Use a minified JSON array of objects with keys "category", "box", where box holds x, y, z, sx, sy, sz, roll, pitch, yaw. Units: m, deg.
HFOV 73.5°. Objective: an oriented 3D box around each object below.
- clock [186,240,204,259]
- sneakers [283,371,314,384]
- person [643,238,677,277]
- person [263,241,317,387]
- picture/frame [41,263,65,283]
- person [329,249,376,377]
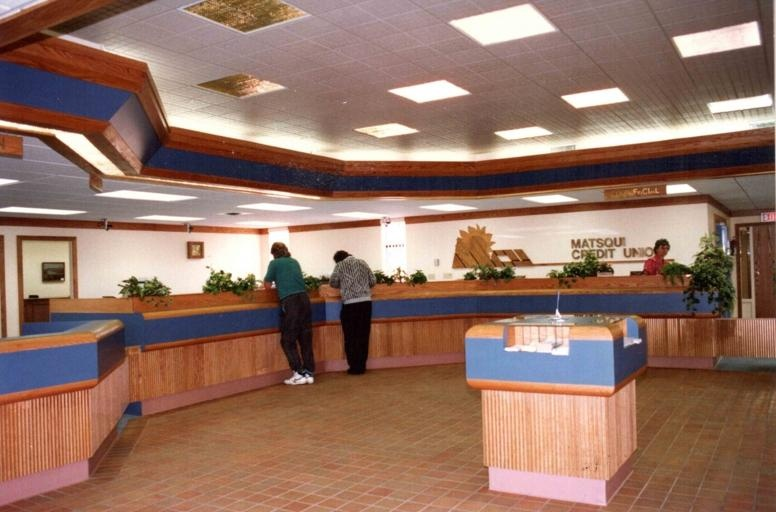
[{"category":"clock","box":[-6.188,-0.191,16.706,0.199,0.576,0.581,-1,3,38]},{"category":"sneakers","box":[-1.420,1.987,8.486,0.579,0.185,0.178,2,-1,2]},{"category":"person","box":[4.836,0.011,9.314,0.400,0.599,1.148,-2,2,26]},{"category":"person","box":[-1.608,0.934,8.381,0.596,2.284,0.392,-3,3,18]},{"category":"picture/frame","box":[-9.541,0.483,14.669,0.720,0.583,0.078,1,-1,-31]},{"category":"person","box":[-0.569,0.979,9.048,0.758,2.143,0.324,-4,3,-3]}]
